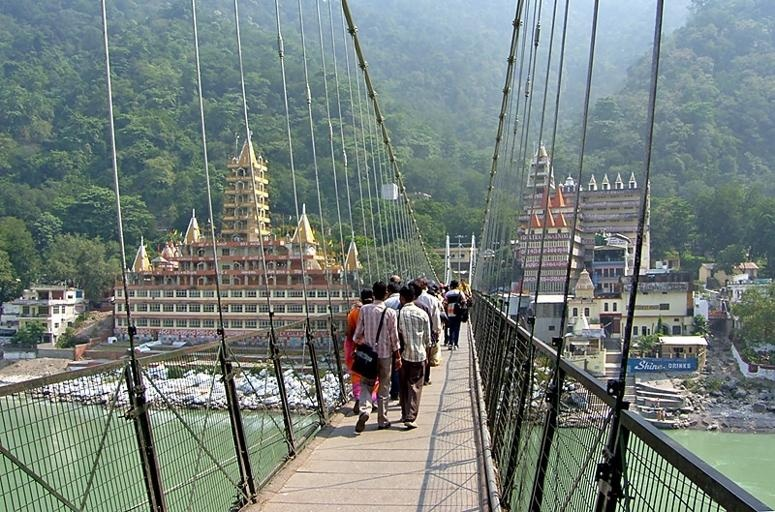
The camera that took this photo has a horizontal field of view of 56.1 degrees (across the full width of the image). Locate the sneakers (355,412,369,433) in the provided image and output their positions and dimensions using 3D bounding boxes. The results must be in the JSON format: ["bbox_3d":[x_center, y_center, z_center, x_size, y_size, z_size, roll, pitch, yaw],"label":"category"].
[{"bbox_3d":[-0.308,1.872,8.276,0.114,0.281,0.133,11,7,-7],"label":"sneakers"}]

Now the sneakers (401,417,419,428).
[{"bbox_3d":[0.246,1.921,8.395,0.158,0.139,0.104,0,0,-1],"label":"sneakers"}]

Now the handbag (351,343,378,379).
[{"bbox_3d":[-0.250,1.179,8.223,0.156,0.324,0.372,0,8,-30],"label":"handbag"}]

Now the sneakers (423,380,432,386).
[{"bbox_3d":[0.585,1.873,10.730,0.072,0.089,0.214,-1,-10,-1],"label":"sneakers"}]

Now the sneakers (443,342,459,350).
[{"bbox_3d":[1.293,1.871,15.061,0.194,0.202,0.183,-6,-6,8],"label":"sneakers"}]

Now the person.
[{"bbox_3d":[0.165,1.146,8.689,0.696,1.705,1.506,0,0,30],"label":"person"}]
